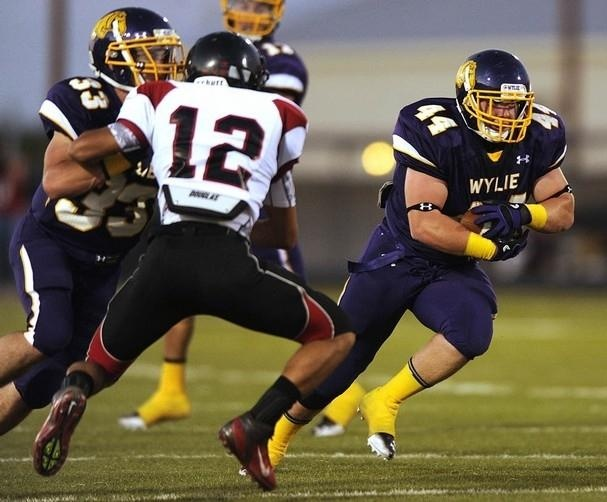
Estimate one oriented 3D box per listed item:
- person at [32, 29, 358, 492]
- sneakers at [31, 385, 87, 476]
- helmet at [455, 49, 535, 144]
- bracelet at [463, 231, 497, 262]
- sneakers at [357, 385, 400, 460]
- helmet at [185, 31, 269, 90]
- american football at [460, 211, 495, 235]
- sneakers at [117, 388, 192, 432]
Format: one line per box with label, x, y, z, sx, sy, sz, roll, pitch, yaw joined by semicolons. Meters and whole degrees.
person;-0.301;0.008;2.877;0.987;1.422;0.777;4;18;2
sneakers;-0.794;0.598;2.804;0.170;0.367;0.144;-3;19;-20
helmet;0.716;-0.620;3.418;0.312;0.300;0.378;-2;37;-13
bracelet;0.680;-0.014;3.352;0.134;0.092;0.121;13;8;0
sneakers;0.299;0.668;3.356;0.142;0.214;0.262;3;17;-1
helmet;-0.247;-0.642;3.039;0.262;0.194;0.196;-26;62;-41
american football;0.665;-0.114;3.384;0.107;0.075;0.101;33;35;32
sneakers;-0.806;0.807;4.434;0.465;0.178;0.138;-7;4;-16
